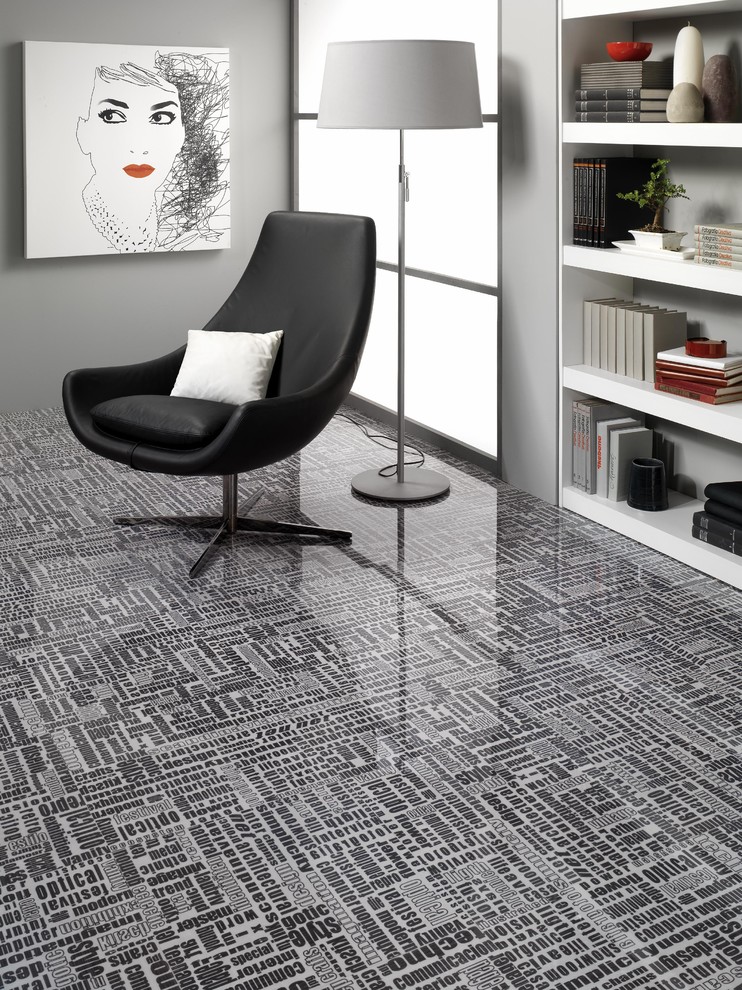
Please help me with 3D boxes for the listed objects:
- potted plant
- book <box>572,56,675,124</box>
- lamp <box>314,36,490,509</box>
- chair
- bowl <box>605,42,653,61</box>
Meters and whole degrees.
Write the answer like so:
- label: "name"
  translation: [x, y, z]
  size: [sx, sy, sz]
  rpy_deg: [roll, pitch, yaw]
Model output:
- label: "potted plant"
  translation: [0.970, -1.001, 2.924]
  size: [0.241, 0.281, 0.196]
  rpy_deg: [7, 20, 33]
- label: "book"
  translation: [0.833, -1.328, 2.817]
  size: [0.312, 0.220, 0.256]
  rpy_deg: [4, 16, 17]
- label: "lamp"
  translation: [0.129, -0.836, 3.400]
  size: [0.590, 1.686, 0.660]
  rpy_deg: [1, 15, 7]
- label: "chair"
  translation: [-0.546, -0.397, 3.115]
  size: [1.025, 1.144, 1.064]
  rpy_deg: [10, 22, 27]
- label: "bowl"
  translation: [0.858, -1.469, 2.813]
  size: [0.122, 0.045, 0.120]
  rpy_deg: [-1, 15, 0]
